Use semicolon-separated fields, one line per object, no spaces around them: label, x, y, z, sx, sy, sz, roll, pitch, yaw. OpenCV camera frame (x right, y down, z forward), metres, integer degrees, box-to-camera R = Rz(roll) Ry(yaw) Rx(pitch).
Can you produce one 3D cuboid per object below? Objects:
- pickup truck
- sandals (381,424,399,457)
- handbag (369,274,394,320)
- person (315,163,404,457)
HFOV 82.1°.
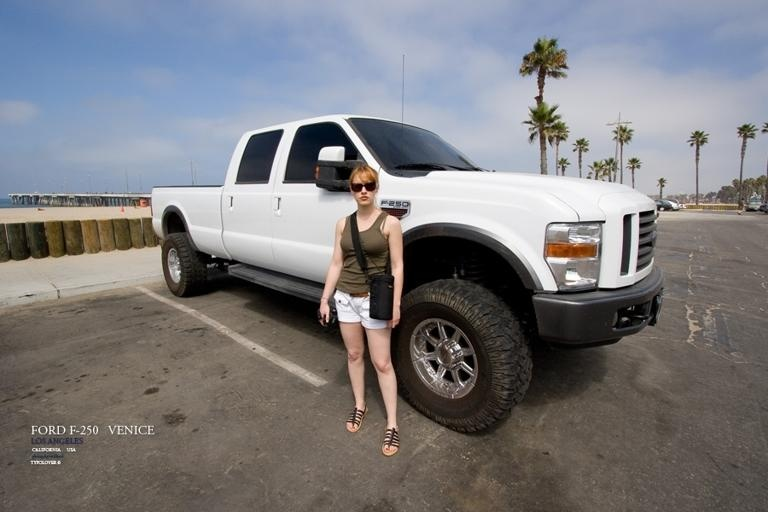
pickup truck;-0.315;-0.101;6.089;6.578;2.485;3.267;5;8;41
sandals;0.059;1.682;4.031;0.111;0.107;0.271;-1;-3;2
handbag;-0.042;0.368;3.899;0.244;0.430;0.198;4;14;16
person;-0.142;0.449;4.108;0.850;2.543;0.510;8;15;32
